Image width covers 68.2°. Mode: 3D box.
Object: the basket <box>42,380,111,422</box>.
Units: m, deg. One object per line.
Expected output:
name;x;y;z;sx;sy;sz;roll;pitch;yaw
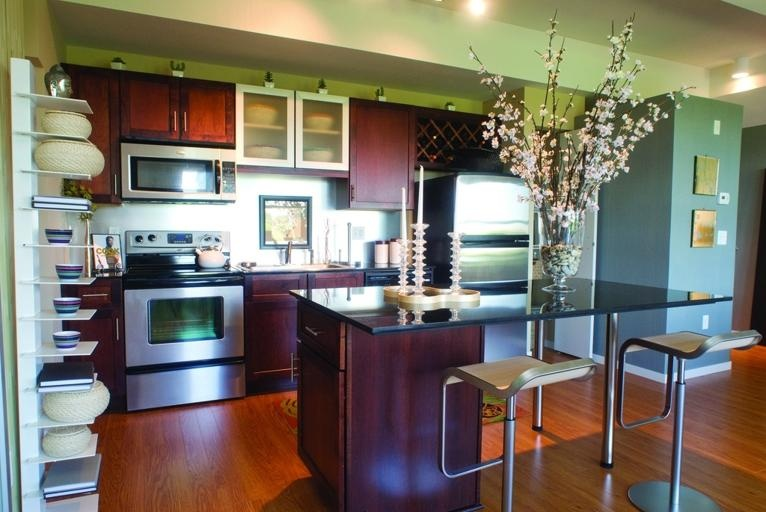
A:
basket;-1.935;0.893;3.453;0.366;0.189;0.376;1;1;-8

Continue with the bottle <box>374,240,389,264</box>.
bottle;-0.005;-0.036;5.549;0.135;0.214;0.153;0;8;3

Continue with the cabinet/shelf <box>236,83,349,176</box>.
cabinet/shelf;-0.889;-1.149;5.220;1.165;0.682;0.374;-4;9;-37

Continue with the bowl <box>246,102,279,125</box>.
bowl;-1.063;-1.243;4.974;0.201;0.106;0.191;0;6;0

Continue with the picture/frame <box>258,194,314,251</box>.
picture/frame;-0.943;-0.330;5.359;0.597;0.544;0.043;0;2;-22

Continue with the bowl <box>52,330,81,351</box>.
bowl;-1.896;0.503;3.390;0.134;0.079;0.128;0;-4;0

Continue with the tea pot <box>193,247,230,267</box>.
tea pot;-1.523;0.007;4.959;0.219;0.123;0.165;-1;4;-8

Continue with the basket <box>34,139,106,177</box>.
basket;-1.952;-0.583;3.477;0.446;0.210;0.392;8;6;-1

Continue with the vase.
vase;1.208;-0.013;3.832;0.298;0.504;0.275;2;4;30

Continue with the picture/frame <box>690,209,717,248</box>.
picture/frame;3.005;-0.266;5.308;0.407;0.436;0.061;0;2;-26

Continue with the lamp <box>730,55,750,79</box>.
lamp;3.745;-1.961;5.931;0.153;0.194;0.188;-6;10;-35

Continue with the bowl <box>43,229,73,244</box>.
bowl;-1.947;-0.114;3.373;0.118;0.053;0.115;0;-1;0

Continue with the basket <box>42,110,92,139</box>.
basket;-1.875;-0.773;3.335;0.215;0.133;0.204;0;10;-20

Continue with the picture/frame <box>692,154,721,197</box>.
picture/frame;3.020;-0.761;5.284;0.432;0.457;0.063;-2;9;-23

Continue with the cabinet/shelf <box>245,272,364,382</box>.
cabinet/shelf;-0.920;0.613;5.217;1.152;1.043;0.581;2;8;-44

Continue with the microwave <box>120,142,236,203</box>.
microwave;-1.682;-0.706;5.003;1.053;0.492;0.562;5;12;7

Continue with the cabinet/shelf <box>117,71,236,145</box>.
cabinet/shelf;-1.707;-1.295;4.954;0.998;0.549;0.527;6;18;2

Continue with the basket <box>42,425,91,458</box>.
basket;-1.871;1.091;3.351;0.199;0.113;0.190;2;1;-22

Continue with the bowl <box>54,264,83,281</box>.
bowl;-1.909;0.094;3.414;0.119;0.071;0.118;0;-1;0

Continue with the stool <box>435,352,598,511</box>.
stool;0.744;1.077;3.264;0.835;1.030;0.458;-4;9;-21

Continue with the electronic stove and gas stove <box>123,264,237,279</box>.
electronic stove and gas stove;-1.689;0.133;4.790;0.910;0.071;0.535;-3;7;-19

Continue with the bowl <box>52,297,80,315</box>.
bowl;-1.902;0.292;3.386;0.123;0.072;0.122;0;0;0
